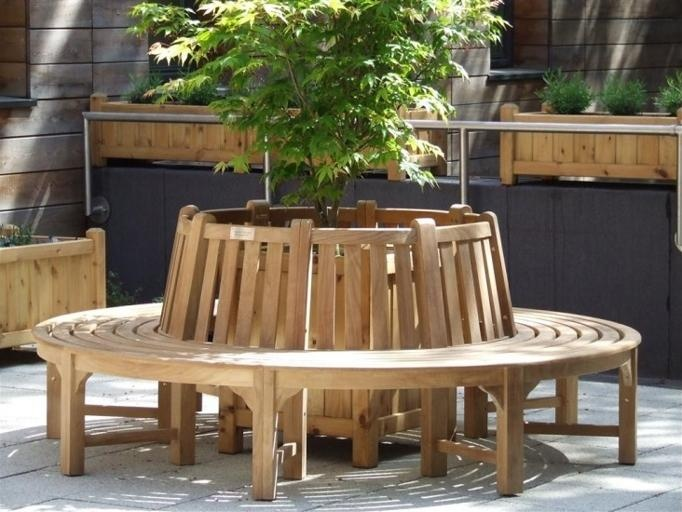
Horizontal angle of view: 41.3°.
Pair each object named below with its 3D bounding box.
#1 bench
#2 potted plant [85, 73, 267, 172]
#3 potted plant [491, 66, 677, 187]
[{"bbox_3d":[-0.062,0.610,4.366,2.922,0.808,1.323,1,5,11],"label":"bench"},{"bbox_3d":[-1.622,-1.079,8.222,1.263,0.478,1.236,3,3,21],"label":"potted plant"},{"bbox_3d":[1.789,-0.909,6.534,1.241,0.798,1.106,2,6,17],"label":"potted plant"}]
